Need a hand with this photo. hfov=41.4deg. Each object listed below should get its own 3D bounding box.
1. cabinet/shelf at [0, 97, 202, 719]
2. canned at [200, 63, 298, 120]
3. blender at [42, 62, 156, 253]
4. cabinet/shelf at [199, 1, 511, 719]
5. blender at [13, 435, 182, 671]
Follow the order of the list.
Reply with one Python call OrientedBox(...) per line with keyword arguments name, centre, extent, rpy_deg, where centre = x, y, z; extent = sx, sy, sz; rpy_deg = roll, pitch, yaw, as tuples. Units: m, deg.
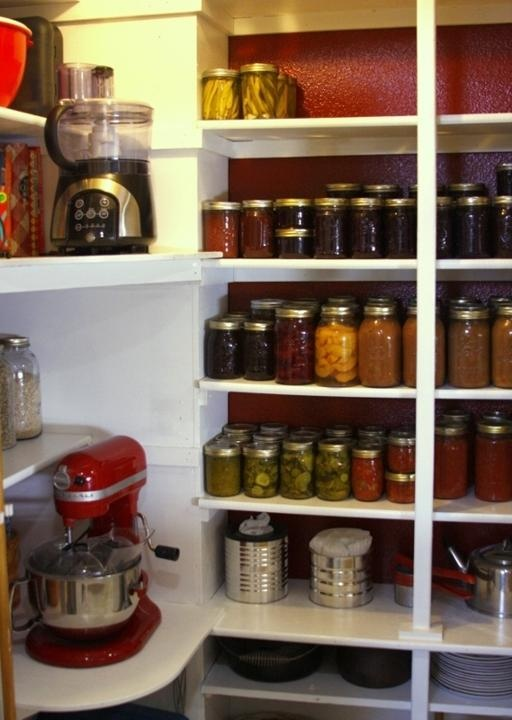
OrientedBox(name="cabinet/shelf", centre=(-0.310, -0.036, 1.274), extent=(0.219, 1.008, 0.532), rpy_deg=(2, 0, 17))
OrientedBox(name="canned", centre=(-0.010, -0.565, 1.486), extent=(0.186, 0.083, 0.132), rpy_deg=(4, 13, 20))
OrientedBox(name="blender", centre=(-0.291, -0.375, 1.272), extent=(0.193, 0.342, 0.235), rpy_deg=(-3, 13, 6))
OrientedBox(name="cabinet/shelf", centre=(0.240, -0.015, 1.538), extent=(0.664, 1.571, 0.438), rpy_deg=(2, 0, 23))
OrientedBox(name="blender", centre=(-0.323, 0.374, 1.373), extent=(0.223, 0.368, 0.384), rpy_deg=(-1, 1, 21))
